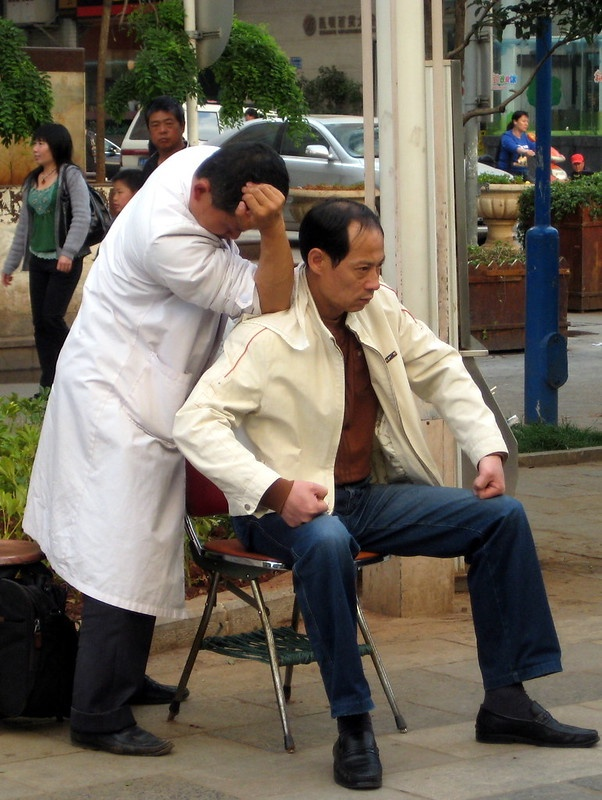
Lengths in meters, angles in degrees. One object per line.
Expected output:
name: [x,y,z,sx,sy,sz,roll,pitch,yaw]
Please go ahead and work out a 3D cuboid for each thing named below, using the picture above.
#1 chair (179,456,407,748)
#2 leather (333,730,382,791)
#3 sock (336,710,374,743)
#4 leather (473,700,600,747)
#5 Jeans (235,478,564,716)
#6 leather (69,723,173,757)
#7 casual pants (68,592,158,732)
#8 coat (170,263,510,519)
chair: [-0.035,0.539,2.969,0.579,0.725,0.478,1,-4,38]
leather: [0.131,0.866,2.467,0.114,0.101,0.143,-4,3,0]
sock: [0.130,0.802,2.523,0.068,0.070,0.078,-3,-15,-15]
leather: [0.601,0.866,2.772,0.379,0.122,0.111,-2,-8,10]
Jeans: [0.224,0.479,2.820,0.746,0.435,0.723,0,-8,-19]
leather: [-0.467,0.916,2.765,0.268,0.090,0.085,-3,-13,14]
casual pants: [-0.506,0.702,2.786,0.250,0.373,0.136,-5,4,-15]
coat: [0.115,0.004,2.871,1.084,0.648,0.586,-13,28,-42]
